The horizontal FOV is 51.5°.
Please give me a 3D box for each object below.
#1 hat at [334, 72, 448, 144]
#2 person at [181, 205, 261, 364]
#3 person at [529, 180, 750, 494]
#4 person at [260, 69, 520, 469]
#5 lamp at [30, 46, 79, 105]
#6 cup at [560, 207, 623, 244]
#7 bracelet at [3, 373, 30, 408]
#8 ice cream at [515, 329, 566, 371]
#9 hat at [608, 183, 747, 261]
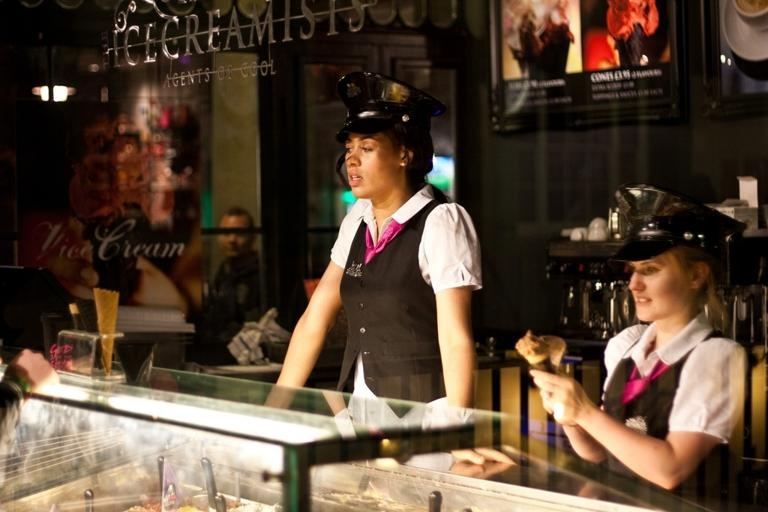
[{"bbox_3d":[0.005,-0.636,3.511,0.341,0.188,0.309,10,8,-5],"label":"hat"},{"bbox_3d":[-1.071,0.194,5.379,0.502,1.054,0.210,0,8,-6],"label":"person"},{"bbox_3d":[0.968,0.352,3.678,1.037,1.621,0.952,5,-7,-20],"label":"person"},{"bbox_3d":[0.060,-0.082,3.385,0.963,1.442,0.652,9,11,43],"label":"person"},{"bbox_3d":[-2.279,-1.260,5.485,0.302,0.360,0.314,3,5,10],"label":"lamp"},{"bbox_3d":[1.197,-0.181,4.674,0.131,0.201,0.365,-1,2,-43],"label":"cup"},{"bbox_3d":[-1.376,0.499,2.985,0.095,0.100,0.096,4,14,6],"label":"bracelet"},{"bbox_3d":[0.575,0.340,2.890,0.141,0.142,0.275,4,8,18],"label":"ice cream"},{"bbox_3d":[1.193,-0.123,3.294,0.458,0.254,0.337,2,-5,-11],"label":"hat"}]
